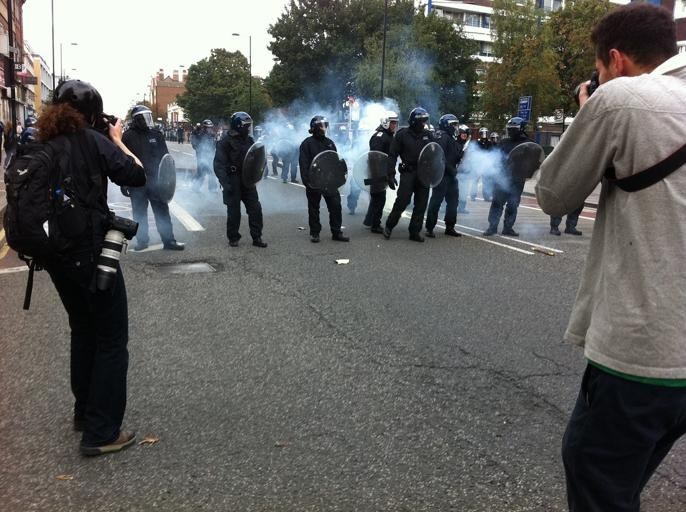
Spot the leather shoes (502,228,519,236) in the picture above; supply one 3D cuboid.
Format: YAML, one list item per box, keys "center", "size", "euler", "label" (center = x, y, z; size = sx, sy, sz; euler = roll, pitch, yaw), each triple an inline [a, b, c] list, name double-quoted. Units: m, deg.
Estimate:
- center: [3.069, -0.457, 10.405]
  size: [0.311, 0.240, 0.129]
  euler: [1, 5, 17]
  label: "leather shoes"

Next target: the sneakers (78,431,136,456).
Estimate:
- center: [-1.355, 1.079, 3.217]
  size: [0.105, 0.140, 0.280]
  euler: [12, 14, 43]
  label: "sneakers"

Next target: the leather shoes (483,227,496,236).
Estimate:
- center: [2.656, -0.465, 10.264]
  size: [0.265, 0.214, 0.109]
  euler: [2, 7, -5]
  label: "leather shoes"

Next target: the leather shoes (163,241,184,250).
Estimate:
- center: [-2.484, -0.176, 8.238]
  size: [0.310, 0.133, 0.294]
  euler: [-4, 14, -21]
  label: "leather shoes"

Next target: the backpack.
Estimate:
- center: [-1.565, -0.309, 2.992]
  size: [0.399, 0.659, 0.219]
  euler: [-2, 11, -16]
  label: "backpack"

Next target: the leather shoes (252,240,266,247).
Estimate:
- center: [-1.304, -0.205, 8.700]
  size: [0.240, 0.081, 0.170]
  euler: [2, 13, 2]
  label: "leather shoes"

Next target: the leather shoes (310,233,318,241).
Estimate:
- center: [-0.487, -0.327, 9.214]
  size: [0.120, 0.152, 0.339]
  euler: [0, 1, -6]
  label: "leather shoes"

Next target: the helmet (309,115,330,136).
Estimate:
- center: [-0.391, -2.165, 9.295]
  size: [0.268, 0.343, 0.312]
  euler: [-5, 6, -40]
  label: "helmet"

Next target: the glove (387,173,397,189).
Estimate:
- center: [0.834, -1.277, 9.606]
  size: [0.187, 0.320, 0.669]
  euler: [2, 13, 5]
  label: "glove"

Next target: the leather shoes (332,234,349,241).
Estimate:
- center: [-0.046, -0.327, 9.310]
  size: [0.292, 0.120, 0.237]
  euler: [0, 13, -3]
  label: "leather shoes"

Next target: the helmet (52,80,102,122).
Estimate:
- center: [-1.495, -0.866, 3.152]
  size: [0.237, 0.236, 0.135]
  euler: [-4, 12, -21]
  label: "helmet"

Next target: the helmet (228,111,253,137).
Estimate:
- center: [-1.586, -2.053, 8.797]
  size: [0.372, 0.366, 0.338]
  euler: [-9, 28, -24]
  label: "helmet"
